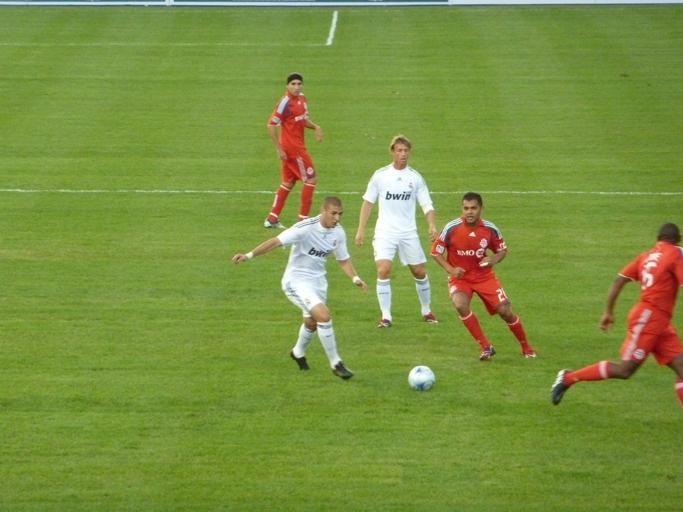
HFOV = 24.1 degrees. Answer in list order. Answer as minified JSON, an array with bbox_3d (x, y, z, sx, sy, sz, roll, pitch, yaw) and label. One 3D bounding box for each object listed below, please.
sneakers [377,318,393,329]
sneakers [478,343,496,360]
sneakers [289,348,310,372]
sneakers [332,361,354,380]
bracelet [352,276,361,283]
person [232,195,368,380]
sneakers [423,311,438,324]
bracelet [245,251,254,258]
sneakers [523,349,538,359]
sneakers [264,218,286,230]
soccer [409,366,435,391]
[{"bbox_3d":[0.789,1.242,29.726,0.226,0.151,0.388,0,-4,-1],"label":"sneakers"},{"bbox_3d":[2.594,1.737,28.644,0.195,0.153,0.359,-2,1,38],"label":"sneakers"},{"bbox_3d":[-0.746,1.846,28.534,0.515,0.225,0.187,44,11,6],"label":"sneakers"},{"bbox_3d":[-0.002,2.008,28.136,0.247,0.177,0.419,-27,34,-32],"label":"sneakers"},{"bbox_3d":[0.231,0.405,28.093,0.156,0.083,0.071,24,6,34],"label":"bracelet"},{"bbox_3d":[-0.510,0.573,28.195,1.666,3.221,0.819,-2,-4,-3],"label":"person"},{"bbox_3d":[1.663,1.156,29.928,0.175,0.098,0.286,-3,5,-25],"label":"sneakers"},{"bbox_3d":[-1.626,-0.031,27.839,0.125,0.100,0.106,4,22,11],"label":"bracelet"},{"bbox_3d":[3.383,1.755,28.746,0.199,0.148,0.155,18,5,36],"label":"sneakers"},{"bbox_3d":[-1.468,-0.672,33.297,0.531,0.193,0.167,7,21,-15],"label":"sneakers"},{"bbox_3d":[1.383,2.140,27.878,0.514,0.383,0.436,1,-3,-1],"label":"soccer"}]
